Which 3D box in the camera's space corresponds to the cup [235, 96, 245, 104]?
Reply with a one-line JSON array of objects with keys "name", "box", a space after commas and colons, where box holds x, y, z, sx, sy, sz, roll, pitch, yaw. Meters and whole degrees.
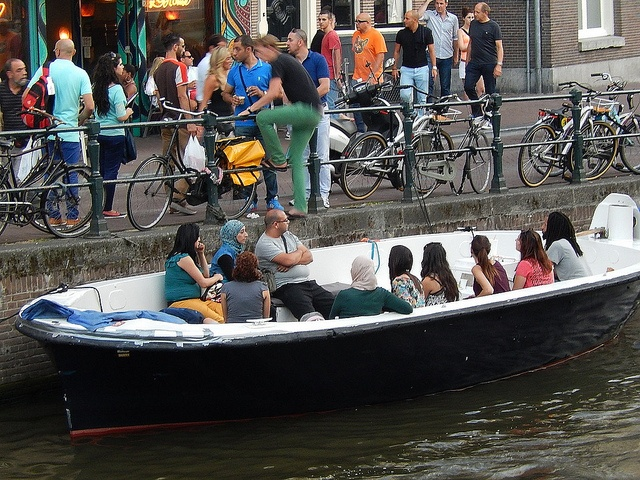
[{"name": "cup", "box": [-1.010, -1.740, 12.605, 0.088, 0.062, 0.096, 0, 6, 0]}]

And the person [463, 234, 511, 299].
[{"name": "person", "box": [1.877, 0.317, 11.384, 0.316, 0.963, 0.353, -10, 38, 1]}]

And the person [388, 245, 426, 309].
[{"name": "person", "box": [0.901, 0.619, 10.356, 0.311, 1.116, 0.360, -4, -8, 29]}]

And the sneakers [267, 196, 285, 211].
[{"name": "sneakers", "box": [-0.548, -0.457, 12.562, 0.129, 0.212, 0.394, 1, 6, -34]}]

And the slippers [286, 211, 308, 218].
[{"name": "slippers", "box": [-0.293, -0.310, 12.583, 0.246, 0.079, 0.092, 1, 0, -36]}]

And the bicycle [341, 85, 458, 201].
[{"name": "bicycle", "box": [0.998, -1.391, 14.102, 1.584, 1.655, 1.546, -4, 6, -13]}]

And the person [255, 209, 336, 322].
[{"name": "person", "box": [-0.188, 0.309, 11.014, 1.036, 1.360, 0.664, 6, 14, 44]}]

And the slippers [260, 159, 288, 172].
[{"name": "slippers", "box": [-0.556, -0.904, 12.395, 0.319, 0.114, 0.137, 9, -1, -12]}]

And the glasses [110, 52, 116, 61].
[{"name": "glasses", "box": [-2.567, -2.277, 12.529, 0.063, 0.028, 0.101, 9, 24, -11]}]

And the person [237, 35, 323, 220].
[{"name": "person", "box": [-0.407, -1.354, 12.244, 0.891, 2.217, 0.609, -3, 5, -5]}]

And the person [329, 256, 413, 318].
[{"name": "person", "box": [0.497, 0.482, 10.291, 0.793, 0.790, 0.542, -3, 12, -1]}]

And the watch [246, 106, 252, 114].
[{"name": "watch", "box": [-0.851, -1.581, 12.225, 0.046, 0.028, 0.071, 14, 47, 14]}]

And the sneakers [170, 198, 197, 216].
[{"name": "sneakers", "box": [-1.741, -0.410, 12.653, 0.373, 0.190, 0.137, -1, 12, -25]}]

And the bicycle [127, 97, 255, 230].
[{"name": "bicycle", "box": [-1.713, -0.963, 12.475, 1.761, 1.461, 1.098, -6, 13, -36]}]

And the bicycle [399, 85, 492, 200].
[{"name": "bicycle", "box": [1.887, -1.233, 14.575, 1.636, 1.205, 0.850, -12, 11, -29]}]

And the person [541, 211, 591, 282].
[{"name": "person", "box": [2.863, 0.094, 11.764, 0.375, 0.889, 0.332, -24, -40, 31]}]

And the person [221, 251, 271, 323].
[{"name": "person", "box": [-0.753, 0.750, 10.330, 0.417, 1.180, 0.578, -2, -20, -2]}]

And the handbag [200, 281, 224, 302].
[{"name": "handbag", "box": [-1.166, 0.570, 10.989, 0.231, 0.092, 0.170, -34, -38, 31]}]
